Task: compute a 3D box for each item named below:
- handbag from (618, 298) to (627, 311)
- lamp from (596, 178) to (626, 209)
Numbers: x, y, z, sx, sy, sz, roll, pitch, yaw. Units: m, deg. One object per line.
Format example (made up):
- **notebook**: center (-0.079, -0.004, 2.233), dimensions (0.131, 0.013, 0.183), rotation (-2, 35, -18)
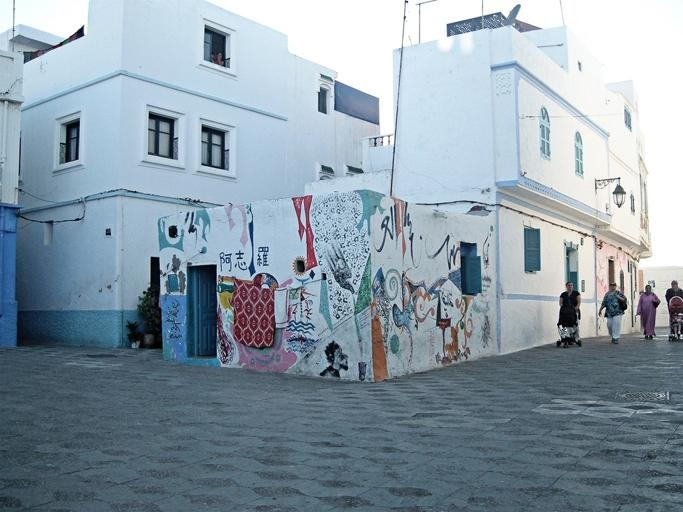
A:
- **handbag**: center (8.860, 1.537, 18.567), dimensions (0.154, 0.402, 0.325), rotation (-4, -5, 39)
- **lamp**: center (10.202, -2.419, 22.438), dimensions (0.576, 1.248, 1.225), rotation (6, -6, -36)
